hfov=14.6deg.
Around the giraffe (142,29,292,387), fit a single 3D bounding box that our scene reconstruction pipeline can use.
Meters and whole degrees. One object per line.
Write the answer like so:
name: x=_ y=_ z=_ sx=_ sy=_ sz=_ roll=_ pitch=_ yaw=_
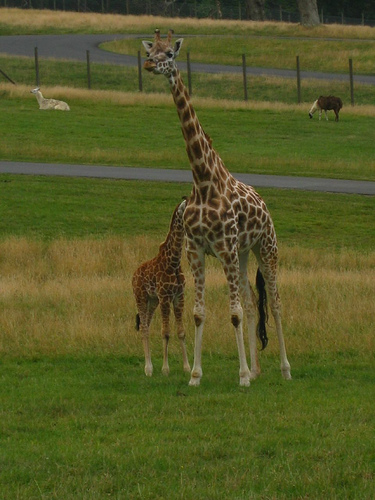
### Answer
giraffe: x=0.743 y=-0.777 z=29.236 sx=2.677 sy=7.010 sz=1.640 roll=0 pitch=10 yaw=-3
